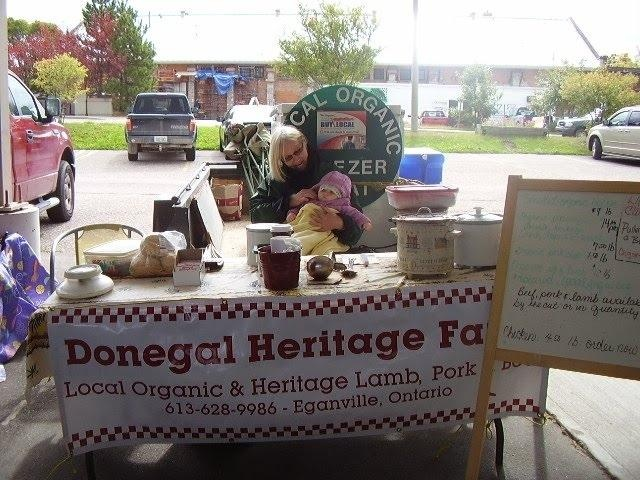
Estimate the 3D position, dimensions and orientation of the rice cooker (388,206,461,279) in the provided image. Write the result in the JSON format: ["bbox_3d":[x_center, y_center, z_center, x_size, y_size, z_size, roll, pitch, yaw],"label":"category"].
[{"bbox_3d":[0.600,0.025,2.951,0.407,0.379,0.370,2,6,28],"label":"rice cooker"}]

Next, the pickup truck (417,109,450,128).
[{"bbox_3d":[7.582,-8.024,34.423,2.221,1.236,1.427,-2,13,-5],"label":"pickup truck"}]

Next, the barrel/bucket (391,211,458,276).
[{"bbox_3d":[0.567,0.031,2.813,0.334,0.347,0.320,-1,7,0],"label":"barrel/bucket"}]

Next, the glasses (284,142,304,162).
[{"bbox_3d":[-0.225,-0.713,4.317,0.165,0.151,0.085,-2,17,-6],"label":"glasses"}]

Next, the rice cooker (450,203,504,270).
[{"bbox_3d":[0.909,-0.025,2.946,0.292,0.365,0.311,-1,8,-4],"label":"rice cooker"}]
